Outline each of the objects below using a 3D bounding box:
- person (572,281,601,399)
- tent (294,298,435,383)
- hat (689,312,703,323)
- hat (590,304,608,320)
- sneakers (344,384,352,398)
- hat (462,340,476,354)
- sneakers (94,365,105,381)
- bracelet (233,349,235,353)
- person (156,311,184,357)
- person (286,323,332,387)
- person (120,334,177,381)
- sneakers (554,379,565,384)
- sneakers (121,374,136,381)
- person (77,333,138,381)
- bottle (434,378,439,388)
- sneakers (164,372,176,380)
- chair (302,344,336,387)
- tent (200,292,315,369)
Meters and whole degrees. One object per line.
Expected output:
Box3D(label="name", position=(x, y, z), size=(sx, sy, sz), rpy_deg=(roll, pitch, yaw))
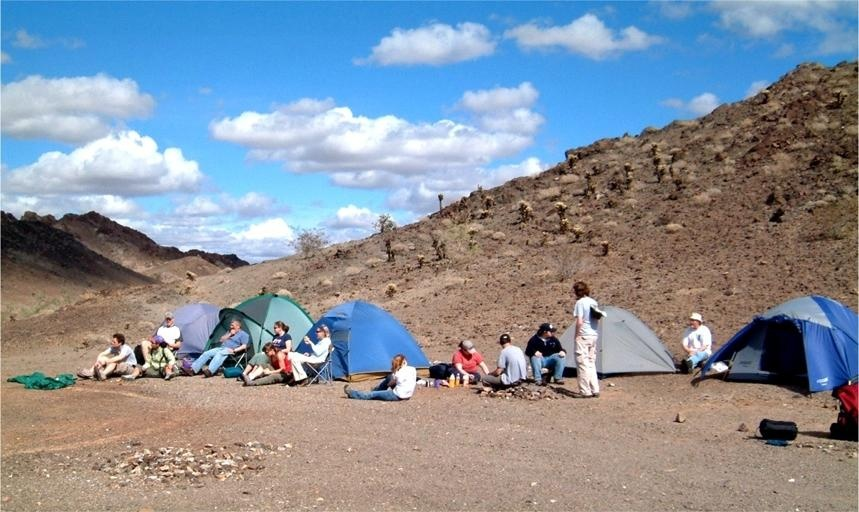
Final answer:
Box3D(label="person", position=(4.936, 2.591, 22.079), size=(0.767, 3.561, 0.962), rpy_deg=(-2, -11, 12))
Box3D(label="tent", position=(-1.863, 3.140, 24.495), size=(3.165, 1.597, 3.455), rpy_deg=(1, -3, -40))
Box3D(label="hat", position=(9.731, 2.232, 25.769), size=(0.574, 0.213, 0.411), rpy_deg=(27, -20, -39))
Box3D(label="hat", position=(5.216, 1.768, 22.113), size=(0.416, 0.262, 1.012), rpy_deg=(-15, -10, -3))
Box3D(label="sneakers", position=(-2.559, 4.241, 22.266), size=(0.195, 0.399, 0.153), rpy_deg=(-3, -1, 10))
Box3D(label="hat", position=(1.186, 3.006, 23.647), size=(0.534, 0.201, 0.380), rpy_deg=(32, 36, 23))
Box3D(label="sneakers", position=(-10.943, 3.889, 23.464), size=(0.222, 0.254, 0.620), rpy_deg=(4, -31, -4))
Box3D(label="bracelet", position=(-6.861, 3.297, 24.799), size=(0.103, 0.121, 0.037), rpy_deg=(5, -7, -9))
Box3D(label="person", position=(-9.212, 2.720, 25.031), size=(1.209, 1.439, 0.849), rpy_deg=(12, 17, 20))
Box3D(label="person", position=(-3.964, 3.189, 23.701), size=(1.287, 1.774, 0.821), rpy_deg=(1, 14, -9))
Box3D(label="person", position=(-9.403, 3.449, 23.921), size=(1.518, 1.110, 1.477), rpy_deg=(-1, -8, 13))
Box3D(label="sneakers", position=(4.355, 4.176, 23.529), size=(0.285, 0.124, 0.387), rpy_deg=(-3, -9, -1))
Box3D(label="sneakers", position=(-10.054, 4.055, 23.614), size=(0.397, 0.163, 0.177), rpy_deg=(-1, -1, 17))
Box3D(label="person", position=(-10.773, 3.381, 23.831), size=(1.052, 1.301, 1.845), rpy_deg=(5, 5, 20))
Box3D(label="bottle", position=(0.269, 4.196, 23.391), size=(0.192, 0.276, 0.316), rpy_deg=(-1, -11, 4))
Box3D(label="sneakers", position=(-8.786, 4.062, 23.897), size=(0.323, 0.227, 0.203), rpy_deg=(4, -12, -20))
Box3D(label="chair", position=(-3.649, 3.606, 23.867), size=(1.069, 1.230, 0.893), rpy_deg=(-3, 1, 8))
Box3D(label="tent", position=(-6.001, 2.837, 25.875), size=(2.847, 1.765, 3.137), rpy_deg=(-1, 5, 31))
